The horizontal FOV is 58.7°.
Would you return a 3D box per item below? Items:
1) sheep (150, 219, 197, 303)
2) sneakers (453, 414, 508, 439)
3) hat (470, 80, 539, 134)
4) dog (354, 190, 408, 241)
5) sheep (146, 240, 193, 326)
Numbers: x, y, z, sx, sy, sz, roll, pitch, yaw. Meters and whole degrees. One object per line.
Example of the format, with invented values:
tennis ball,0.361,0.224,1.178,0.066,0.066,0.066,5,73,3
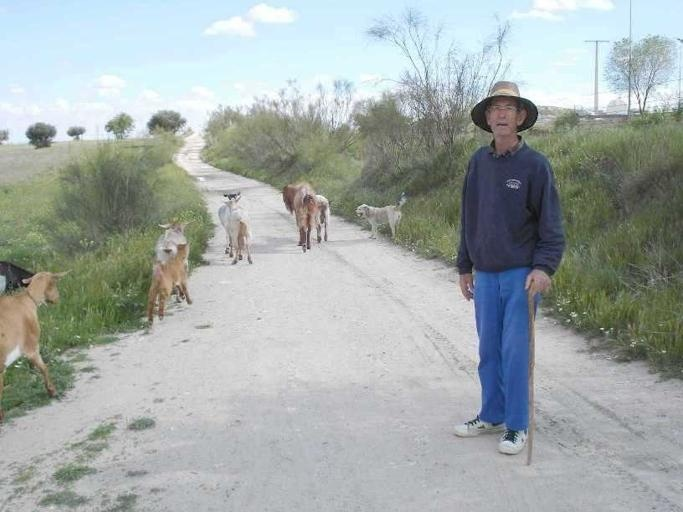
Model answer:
sheep,-3.159,0.140,11.436,0.565,1.350,2.162,1,35,-4
sneakers,1.514,1.849,6.666,0.546,0.253,0.223,3,-2,-3
hat,1.684,-1.634,6.383,0.493,0.536,0.265,6,36,32
dog,1.157,-1.158,17.751,0.696,1.212,1.671,-8,11,-34
sheep,-2.959,0.418,10.447,0.566,1.195,1.244,-1,9,4
